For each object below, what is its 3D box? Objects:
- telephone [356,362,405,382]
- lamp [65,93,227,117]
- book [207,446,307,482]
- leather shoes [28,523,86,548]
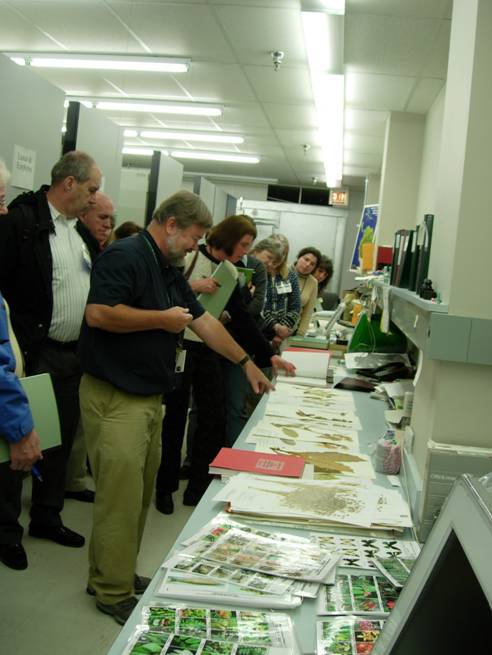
[{"bbox_3d":[0.865,0.300,3.382,0.341,0.115,0.141,-12,-18,43],"label":"telephone"},{"bbox_3d":[-1.245,-2.933,6.848,2.061,0.227,0.771,6,6,20],"label":"lamp"},{"bbox_3d":[0.038,0.426,1.601,0.169,0.043,0.124,5,10,7],"label":"book"},{"bbox_3d":[-0.904,0.982,2.485,0.304,0.108,0.099,8,10,0],"label":"leather shoes"}]
